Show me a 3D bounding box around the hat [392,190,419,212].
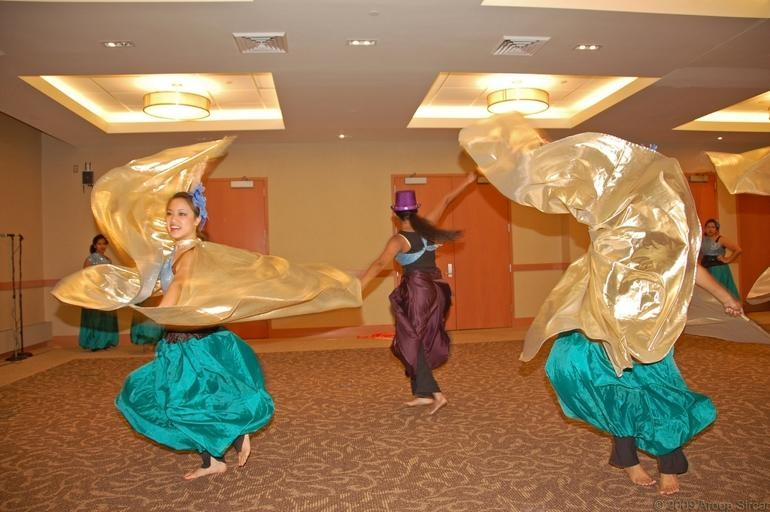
[{"bbox_3d":[0.202,-0.576,5.907,0.303,0.138,0.266,-4,9,-9],"label":"hat"}]

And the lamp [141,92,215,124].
[{"bbox_3d":[-3.024,-2.204,8.012,0.882,0.337,0.597,-5,9,-20],"label":"lamp"}]
